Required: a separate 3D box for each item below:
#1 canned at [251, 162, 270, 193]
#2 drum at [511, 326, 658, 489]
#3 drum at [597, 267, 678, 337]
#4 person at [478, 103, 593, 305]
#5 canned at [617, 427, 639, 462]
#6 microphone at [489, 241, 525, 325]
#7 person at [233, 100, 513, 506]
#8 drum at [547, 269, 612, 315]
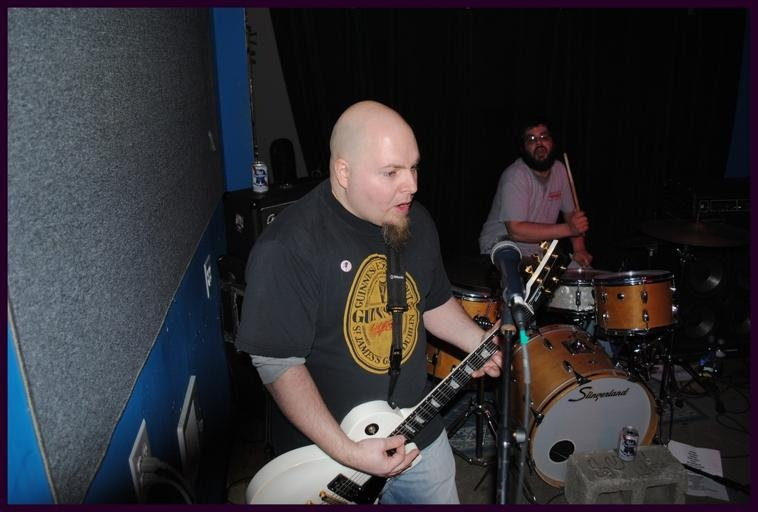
[{"bbox_3d":[-0.895,-0.587,4.064,0.164,0.193,0.161,-9,20,-25],"label":"canned"},{"bbox_3d":[1.401,1.058,3.891,1.045,1.014,0.812,-13,27,-18],"label":"drum"},{"bbox_3d":[1.864,0.355,4.007,0.513,0.391,0.509,0,-9,0],"label":"drum"},{"bbox_3d":[1.465,-0.427,4.805,0.944,1.431,0.928,-11,34,-10],"label":"person"},{"bbox_3d":[1.654,1.221,3.577,0.139,0.210,0.125,4,15,13],"label":"canned"},{"bbox_3d":[0.478,0.098,1.983,0.109,0.270,0.274,0,14,1],"label":"microphone"},{"bbox_3d":[-0.063,0.307,2.481,1.137,1.956,0.553,-4,15,-15],"label":"person"},{"bbox_3d":[1.454,0.269,4.111,0.512,0.282,0.452,6,10,33],"label":"drum"}]
